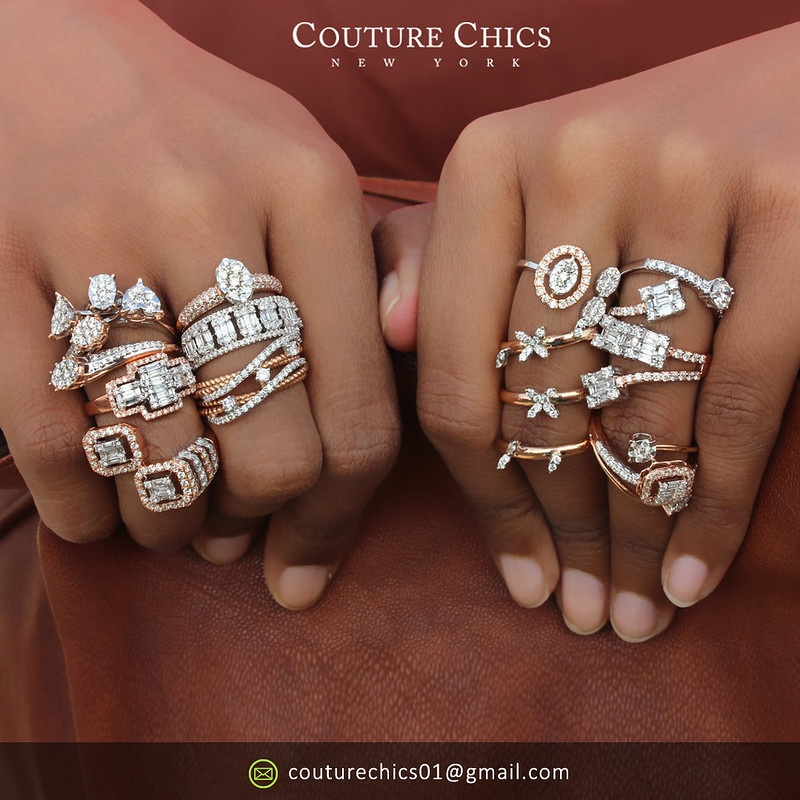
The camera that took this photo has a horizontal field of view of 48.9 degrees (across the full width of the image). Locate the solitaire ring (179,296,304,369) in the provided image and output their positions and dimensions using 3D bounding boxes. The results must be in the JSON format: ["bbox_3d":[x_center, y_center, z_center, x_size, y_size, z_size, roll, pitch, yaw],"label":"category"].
[{"bbox_3d":[-0.199,-0.088,1.105,0.152,0.073,0.052,-14,38,-15],"label":"solitaire ring"}]

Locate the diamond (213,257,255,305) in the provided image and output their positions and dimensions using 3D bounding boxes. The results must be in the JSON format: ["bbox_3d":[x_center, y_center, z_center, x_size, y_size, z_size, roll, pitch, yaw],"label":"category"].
[{"bbox_3d":[-0.206,-0.147,1.091,0.040,0.045,0.049,-31,44,-32],"label":"diamond"}]

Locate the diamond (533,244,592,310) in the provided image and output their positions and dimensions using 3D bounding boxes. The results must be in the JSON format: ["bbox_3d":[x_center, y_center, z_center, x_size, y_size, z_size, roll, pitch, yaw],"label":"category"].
[{"bbox_3d":[0.208,-0.157,1.109,0.078,0.078,0.083,6,-18,19],"label":"diamond"}]

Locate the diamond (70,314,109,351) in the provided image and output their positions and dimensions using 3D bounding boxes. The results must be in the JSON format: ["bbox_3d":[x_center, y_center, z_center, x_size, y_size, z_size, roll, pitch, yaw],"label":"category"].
[{"bbox_3d":[-0.370,-0.079,1.049,0.046,0.040,0.013,0,-9,16],"label":"diamond"}]

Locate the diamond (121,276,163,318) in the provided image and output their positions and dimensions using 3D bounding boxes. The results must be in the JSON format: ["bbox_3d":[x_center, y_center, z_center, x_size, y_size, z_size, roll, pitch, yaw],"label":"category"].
[{"bbox_3d":[-0.318,-0.125,1.076,0.065,0.055,0.018,0,1,-17],"label":"diamond"}]

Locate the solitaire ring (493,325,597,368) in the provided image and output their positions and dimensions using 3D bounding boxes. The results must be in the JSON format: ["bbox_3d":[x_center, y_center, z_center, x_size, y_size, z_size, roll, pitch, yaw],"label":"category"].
[{"bbox_3d":[0.181,-0.073,1.121,0.078,0.025,0.056,-16,16,7],"label":"solitaire ring"}]

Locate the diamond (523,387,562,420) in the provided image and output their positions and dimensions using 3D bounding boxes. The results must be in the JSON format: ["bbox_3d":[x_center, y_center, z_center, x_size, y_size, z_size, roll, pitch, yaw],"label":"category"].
[{"bbox_3d":[0.184,0.002,1.125,0.048,0.042,0.012,-2,1,19],"label":"diamond"}]

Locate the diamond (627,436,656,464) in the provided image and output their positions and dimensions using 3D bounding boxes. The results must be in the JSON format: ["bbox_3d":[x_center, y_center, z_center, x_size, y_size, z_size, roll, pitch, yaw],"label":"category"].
[{"bbox_3d":[0.302,0.061,1.094,0.033,0.039,0.028,6,38,14],"label":"diamond"}]

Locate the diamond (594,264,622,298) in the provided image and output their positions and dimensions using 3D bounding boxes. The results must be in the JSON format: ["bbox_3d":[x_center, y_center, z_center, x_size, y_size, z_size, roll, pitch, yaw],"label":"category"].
[{"bbox_3d":[0.256,-0.147,1.088,0.026,0.039,0.011,37,8,5],"label":"diamond"}]

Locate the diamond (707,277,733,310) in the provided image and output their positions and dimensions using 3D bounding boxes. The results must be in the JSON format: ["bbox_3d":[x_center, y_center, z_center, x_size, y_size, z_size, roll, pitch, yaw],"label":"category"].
[{"bbox_3d":[0.391,-0.126,1.073,0.031,0.042,0.025,5,38,12],"label":"diamond"}]

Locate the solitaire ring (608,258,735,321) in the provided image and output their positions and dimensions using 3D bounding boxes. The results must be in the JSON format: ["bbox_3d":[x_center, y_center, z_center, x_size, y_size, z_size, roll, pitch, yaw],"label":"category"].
[{"bbox_3d":[0.340,-0.136,1.080,0.110,0.039,0.097,7,-15,45],"label":"solitaire ring"}]

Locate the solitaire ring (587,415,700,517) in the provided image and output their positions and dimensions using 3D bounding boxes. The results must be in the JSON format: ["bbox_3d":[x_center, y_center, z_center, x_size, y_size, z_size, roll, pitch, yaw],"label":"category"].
[{"bbox_3d":[0.328,0.096,1.142,0.125,0.066,0.132,1,17,0],"label":"solitaire ring"}]

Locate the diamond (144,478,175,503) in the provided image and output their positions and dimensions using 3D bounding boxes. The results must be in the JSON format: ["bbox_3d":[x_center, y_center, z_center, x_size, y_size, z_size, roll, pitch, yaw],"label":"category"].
[{"bbox_3d":[-0.295,0.107,1.068,0.039,0.032,0.012,-2,21,6],"label":"diamond"}]

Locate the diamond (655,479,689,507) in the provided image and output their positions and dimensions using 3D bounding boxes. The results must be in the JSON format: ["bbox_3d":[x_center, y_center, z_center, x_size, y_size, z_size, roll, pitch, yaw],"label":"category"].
[{"bbox_3d":[0.339,0.118,1.097,0.044,0.034,0.011,-6,19,-20],"label":"diamond"}]

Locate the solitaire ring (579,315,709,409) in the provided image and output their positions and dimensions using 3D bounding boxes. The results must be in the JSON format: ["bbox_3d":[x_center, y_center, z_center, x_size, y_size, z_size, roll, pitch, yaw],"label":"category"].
[{"bbox_3d":[0.286,-0.047,1.035,0.140,0.100,0.043,9,-1,11],"label":"solitaire ring"}]

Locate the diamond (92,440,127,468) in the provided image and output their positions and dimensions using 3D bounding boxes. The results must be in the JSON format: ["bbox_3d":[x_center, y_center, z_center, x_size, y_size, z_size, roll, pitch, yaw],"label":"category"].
[{"bbox_3d":[-0.348,0.064,1.058,0.035,0.030,0.013,-3,11,0],"label":"diamond"}]

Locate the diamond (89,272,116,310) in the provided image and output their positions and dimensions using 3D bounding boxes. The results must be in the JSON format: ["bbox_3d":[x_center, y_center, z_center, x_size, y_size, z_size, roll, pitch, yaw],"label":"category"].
[{"bbox_3d":[-0.357,-0.131,1.058,0.034,0.041,0.012,3,-15,4],"label":"diamond"}]
